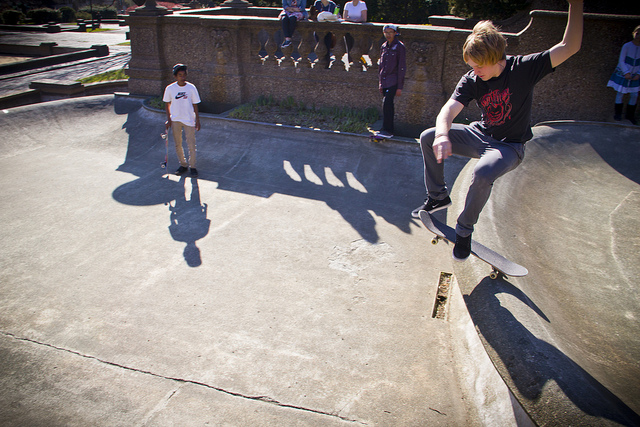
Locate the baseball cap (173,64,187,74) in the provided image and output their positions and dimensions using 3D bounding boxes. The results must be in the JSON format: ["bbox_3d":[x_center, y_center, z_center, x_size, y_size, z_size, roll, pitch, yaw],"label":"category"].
[{"bbox_3d":[-2.714,-2.764,8.995,0.193,0.145,0.286,-10,25,-25],"label":"baseball cap"}]

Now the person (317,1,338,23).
[{"bbox_3d":[0.215,-4.968,11.622,0.490,0.500,1.132,1,22,-1],"label":"person"}]
